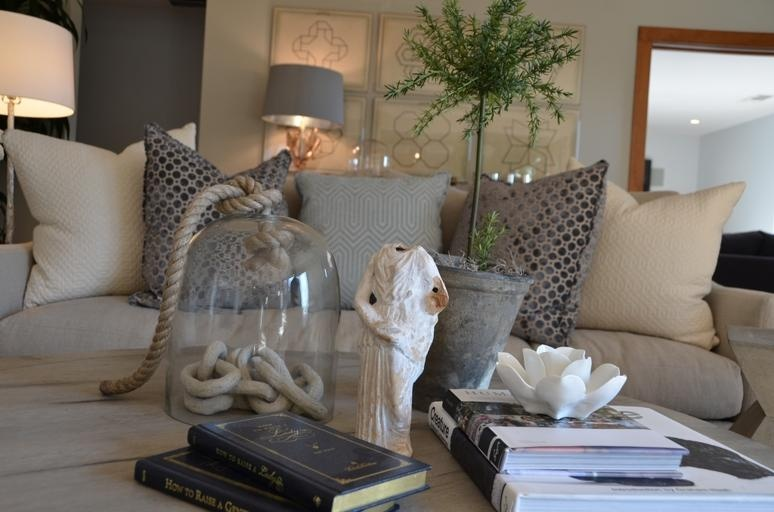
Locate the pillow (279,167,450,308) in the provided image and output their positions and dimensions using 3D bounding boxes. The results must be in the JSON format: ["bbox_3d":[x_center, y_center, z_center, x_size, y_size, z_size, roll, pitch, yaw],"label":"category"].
[{"bbox_3d":[-0.073,-0.069,1.789,0.511,0.559,0.200,1,-24,-4],"label":"pillow"}]

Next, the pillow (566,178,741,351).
[{"bbox_3d":[1.003,0.020,2.233,0.314,0.530,0.574,-25,23,-36],"label":"pillow"}]

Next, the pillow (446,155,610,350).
[{"bbox_3d":[0.544,0.047,2.083,0.631,0.665,0.189,19,6,41],"label":"pillow"}]

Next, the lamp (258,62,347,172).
[{"bbox_3d":[-0.578,-0.934,4.023,0.587,0.674,0.587,-1,8,-41],"label":"lamp"}]

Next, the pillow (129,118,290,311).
[{"bbox_3d":[-0.620,-0.100,2.250,0.688,0.786,0.303,6,-21,-29],"label":"pillow"}]
